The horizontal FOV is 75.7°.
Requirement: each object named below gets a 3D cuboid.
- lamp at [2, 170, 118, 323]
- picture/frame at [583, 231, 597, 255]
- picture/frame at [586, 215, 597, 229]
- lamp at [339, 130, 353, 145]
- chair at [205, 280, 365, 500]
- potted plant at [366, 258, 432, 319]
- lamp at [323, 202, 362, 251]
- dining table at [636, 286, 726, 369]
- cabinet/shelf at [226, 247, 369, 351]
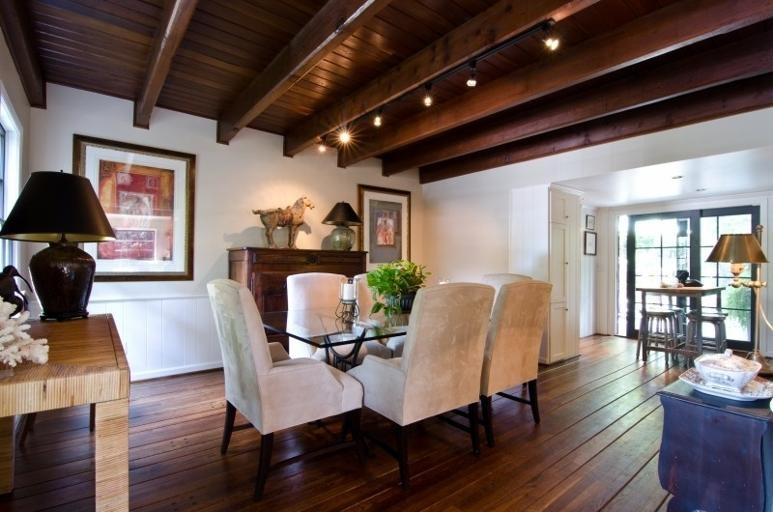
[{"bbox_3d":[-2.337,-0.082,3.592,0.670,1.089,0.506,0,1,-21],"label":"lamp"},{"bbox_3d":[3.066,-0.204,7.586,0.370,0.372,0.025,1,-1,-42],"label":"picture/frame"},{"bbox_3d":[3.119,-0.524,7.640,0.237,0.203,0.023,0,0,-39],"label":"picture/frame"},{"bbox_3d":[-0.498,-1.344,5.693,0.050,0.154,0.154,-5,3,34],"label":"lamp"},{"bbox_3d":[-1.020,0.863,4.459,1.482,2.103,1.302,-3,4,-37],"label":"chair"},{"bbox_3d":[0.072,0.295,4.679,0.509,0.369,0.511,0,-2,-3],"label":"potted plant"},{"bbox_3d":[-0.556,-0.343,6.354,0.558,0.644,0.579,-3,-4,24],"label":"lamp"},{"bbox_3d":[3.776,0.999,6.399,1.198,1.140,0.934,-1,-4,33],"label":"dining table"},{"bbox_3d":[-0.876,0.410,4.599,1.122,1.049,0.424,2,-4,-35],"label":"cabinet/shelf"}]
